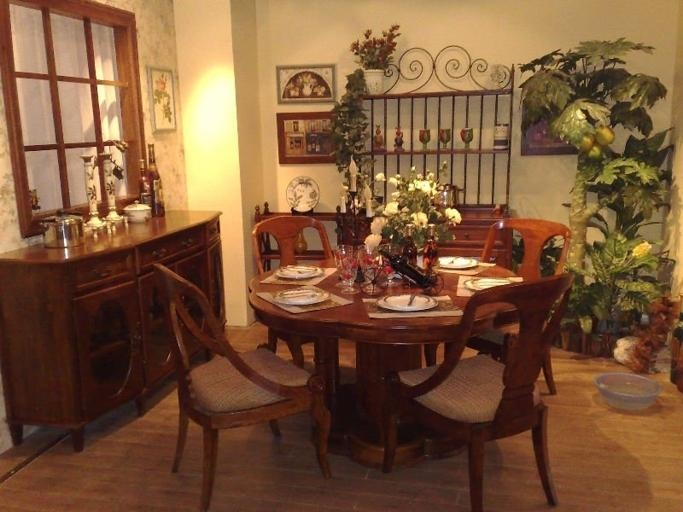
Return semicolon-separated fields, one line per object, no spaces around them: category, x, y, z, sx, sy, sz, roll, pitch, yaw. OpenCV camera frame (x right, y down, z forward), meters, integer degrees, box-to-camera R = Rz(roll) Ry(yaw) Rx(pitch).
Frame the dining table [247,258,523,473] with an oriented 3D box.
dining table;0.158;0.648;3.121;1.199;0.736;1.250;-5;15;-12

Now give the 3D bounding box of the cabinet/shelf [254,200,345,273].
cabinet/shelf;-0.433;-0.052;5.260;0.749;0.820;0.299;3;12;-4

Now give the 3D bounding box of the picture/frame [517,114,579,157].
picture/frame;1.796;-1.036;4.789;0.474;0.339;0.019;3;1;18

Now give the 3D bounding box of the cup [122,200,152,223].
cup;-1.556;-0.335;4.214;0.170;0.121;0.166;0;2;0

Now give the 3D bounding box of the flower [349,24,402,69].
flower;0.263;-1.829;5.063;0.454;0.465;0.450;-19;25;-38

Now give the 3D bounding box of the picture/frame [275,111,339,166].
picture/frame;-0.322;-1.147;5.360;0.585;0.514;0.046;0;16;8

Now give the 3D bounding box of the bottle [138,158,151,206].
bottle;-1.588;-0.587;4.449;0.089;0.355;0.214;-6;13;-19

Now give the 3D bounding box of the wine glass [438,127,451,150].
wine glass;0.947;-1.066;5.112;0.122;0.173;0.238;0;12;10

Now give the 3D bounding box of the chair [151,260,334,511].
chair;-0.580;0.777;3.189;0.969;1.471;0.868;-9;18;-29

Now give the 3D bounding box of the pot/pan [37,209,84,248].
pot/pan;-1.766;-0.192;3.499;0.273;0.235;0.244;-8;21;-33

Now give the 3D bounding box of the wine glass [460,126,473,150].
wine glass;1.143;-1.069;5.088;0.121;0.185;0.323;1;12;13

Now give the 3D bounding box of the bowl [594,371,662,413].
bowl;1.919;0.892;3.707;0.291;0.118;0.279;-7;15;2

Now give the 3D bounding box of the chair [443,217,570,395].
chair;1.115;0.424;3.805;0.920;1.230;0.736;-18;25;-31

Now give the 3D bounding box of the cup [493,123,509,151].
cup;1.413;-1.047;4.917;0.133;0.221;0.184;1;12;13

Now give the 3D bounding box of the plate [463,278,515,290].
plate;0.822;0.158;3.206;0.163;0.024;0.123;-1;12;1

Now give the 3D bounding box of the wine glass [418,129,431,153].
wine glass;0.761;-1.054;5.088;0.102;0.190;0.321;0;12;10

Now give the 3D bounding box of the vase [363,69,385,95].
vase;0.290;-1.577;5.069;0.204;0.226;0.206;8;22;19

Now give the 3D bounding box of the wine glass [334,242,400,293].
wine glass;0.150;0.029;3.246;0.278;0.225;0.316;10;15;39
